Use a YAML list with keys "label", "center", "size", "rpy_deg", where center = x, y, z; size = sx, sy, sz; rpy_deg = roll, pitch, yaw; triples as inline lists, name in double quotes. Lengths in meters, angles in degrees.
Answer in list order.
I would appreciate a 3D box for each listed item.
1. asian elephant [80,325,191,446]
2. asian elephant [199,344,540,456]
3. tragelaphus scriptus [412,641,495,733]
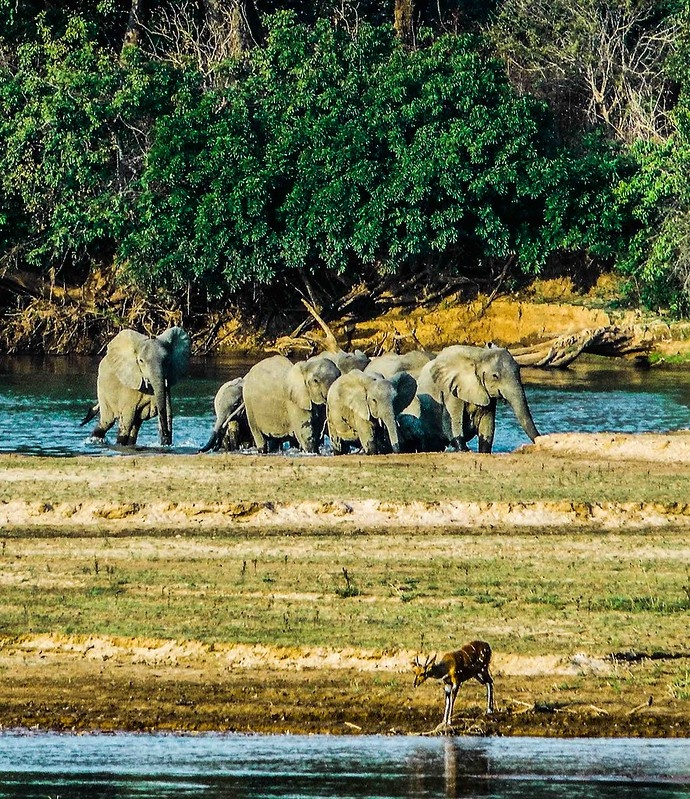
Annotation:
- label: "asian elephant"
  center: [-3.311, -0.181, 36.467]
  size: [1.469, 1.836, 1.930]
  rpy_deg: [0, 6, -4]
- label: "asian elephant"
  center: [1.520, 0.009, 34.219]
  size: [2.789, 1.720, 2.691]
  rpy_deg: [2, 7, 10]
- label: "tragelaphus scriptus"
  center: [0.960, 2.323, 19.010]
  size: [0.719, 0.742, 0.296]
  rpy_deg: [-13, 24, -10]
